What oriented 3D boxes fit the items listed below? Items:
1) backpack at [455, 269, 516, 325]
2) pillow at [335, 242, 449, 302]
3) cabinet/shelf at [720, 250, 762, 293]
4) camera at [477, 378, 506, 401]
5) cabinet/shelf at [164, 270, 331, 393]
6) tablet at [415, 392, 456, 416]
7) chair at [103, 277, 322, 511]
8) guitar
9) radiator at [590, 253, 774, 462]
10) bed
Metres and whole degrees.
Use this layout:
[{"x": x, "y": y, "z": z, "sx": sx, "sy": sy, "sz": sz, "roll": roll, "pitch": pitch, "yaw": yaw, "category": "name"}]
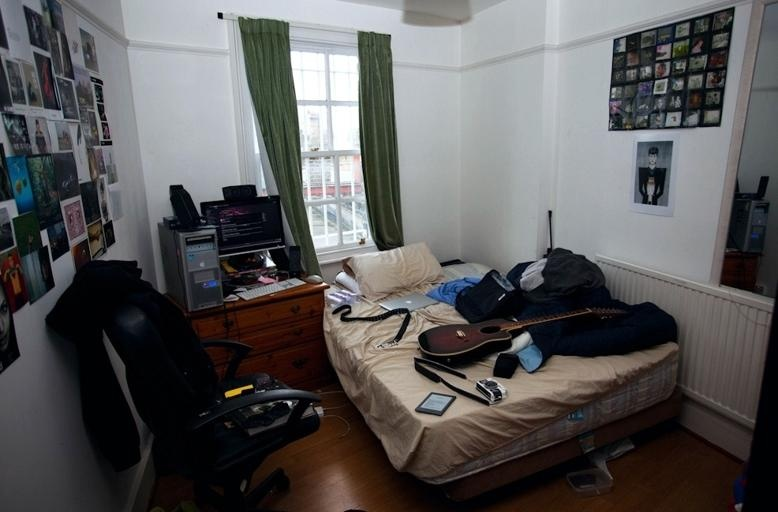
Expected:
[{"x": 0.720, "y": 0.331, "z": 3.714, "sx": 0.366, "sy": 0.144, "sz": 0.358, "roll": -25, "pitch": 28, "yaw": 2, "category": "backpack"}, {"x": 0.063, "y": 0.125, "z": 4.239, "sx": 0.657, "sy": 0.193, "sz": 0.465, "roll": -8, "pitch": 40, "yaw": -29, "category": "pillow"}, {"x": 2.202, "y": 0.078, "z": 3.164, "sx": 0.211, "sy": 0.273, "sz": 0.278, "roll": -3, "pitch": 6, "yaw": -33, "category": "cabinet/shelf"}, {"x": 0.605, "y": 0.794, "z": 2.932, "sx": 0.092, "sy": 0.041, "sz": 0.132, "roll": -6, "pitch": 9, "yaw": -21, "category": "camera"}, {"x": -1.096, "y": 0.542, "z": 3.946, "sx": 1.252, "sy": 1.125, "sz": 0.740, "roll": -10, "pitch": 13, "yaw": -34, "category": "cabinet/shelf"}, {"x": 0.272, "y": 0.869, "z": 2.895, "sx": 0.163, "sy": 0.055, "sz": 0.205, "roll": 4, "pitch": 17, "yaw": 37, "category": "tablet"}, {"x": -1.022, "y": 0.741, "z": 3.269, "sx": 1.286, "sy": 1.564, "sz": 1.213, "roll": -9, "pitch": 16, "yaw": -30, "category": "chair"}, {"x": 0.905, "y": 0.536, "z": 3.325, "sx": 1.444, "sy": 0.152, "sz": 0.505, "roll": -7, "pitch": 7, "yaw": -2, "category": "guitar"}, {"x": 1.862, "y": 0.690, "z": 3.124, "sx": 0.090, "sy": 0.777, "sz": 1.260, "roll": -5, "pitch": 10, "yaw": -32, "category": "radiator"}, {"x": 0.729, "y": 0.869, "z": 3.034, "sx": 1.341, "sy": 0.321, "sz": 1.301, "roll": -10, "pitch": 18, "yaw": -18, "category": "bed"}]
